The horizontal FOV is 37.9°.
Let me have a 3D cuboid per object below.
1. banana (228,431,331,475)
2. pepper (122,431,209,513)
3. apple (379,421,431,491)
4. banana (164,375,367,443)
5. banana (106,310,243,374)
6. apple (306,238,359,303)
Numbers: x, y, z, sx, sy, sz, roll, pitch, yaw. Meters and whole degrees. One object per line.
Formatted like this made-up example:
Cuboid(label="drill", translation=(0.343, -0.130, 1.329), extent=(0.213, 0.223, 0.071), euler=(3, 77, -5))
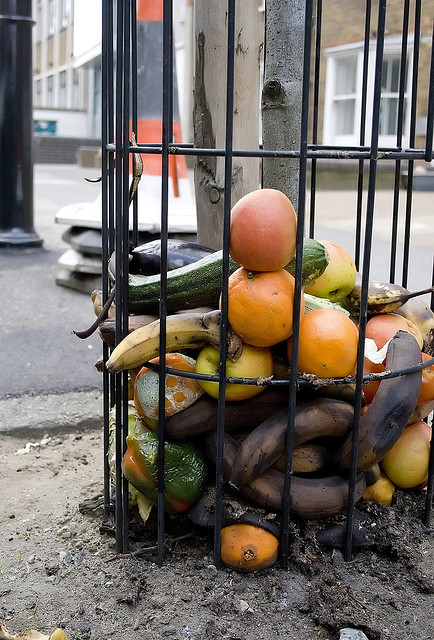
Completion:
Cuboid(label="banana", translation=(0.171, 0.380, 1.747), extent=(0.249, 0.082, 0.126), euler=(13, -9, -16))
Cuboid(label="pepper", translation=(-0.122, 0.395, 1.789), extent=(0.237, 0.171, 0.175), euler=(34, 10, 5))
Cuboid(label="apple", translation=(0.575, 0.400, 1.937), extent=(0.155, 0.193, 0.105), euler=(10, 17, 31))
Cuboid(label="banana", translation=(0.115, 0.231, 1.660), extent=(0.474, 0.121, 0.095), euler=(-8, 38, -10))
Cuboid(label="banana", translation=(-0.107, 0.043, 1.615), extent=(0.341, 0.152, 0.134), euler=(-2, 14, 9))
Cuboid(label="apple", translation=(0.332, -0.136, 1.823), extent=(0.084, 0.181, 0.153), euler=(8, 19, 40))
